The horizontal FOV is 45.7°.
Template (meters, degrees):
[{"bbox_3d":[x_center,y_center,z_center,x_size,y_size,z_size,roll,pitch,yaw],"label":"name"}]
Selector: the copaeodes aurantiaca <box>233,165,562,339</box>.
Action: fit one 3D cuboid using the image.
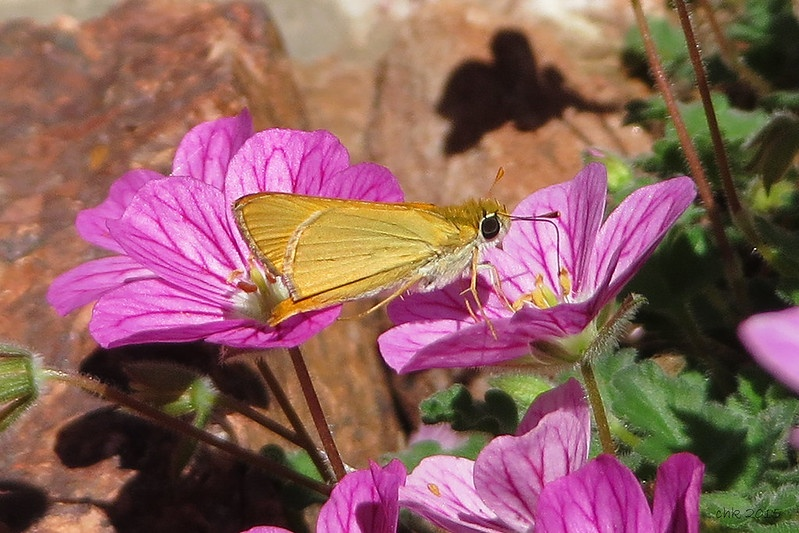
[{"bbox_3d":[0.015,-0.010,3.285,1.108,0.429,0.519,-10,62,10],"label":"copaeodes aurantiaca"}]
